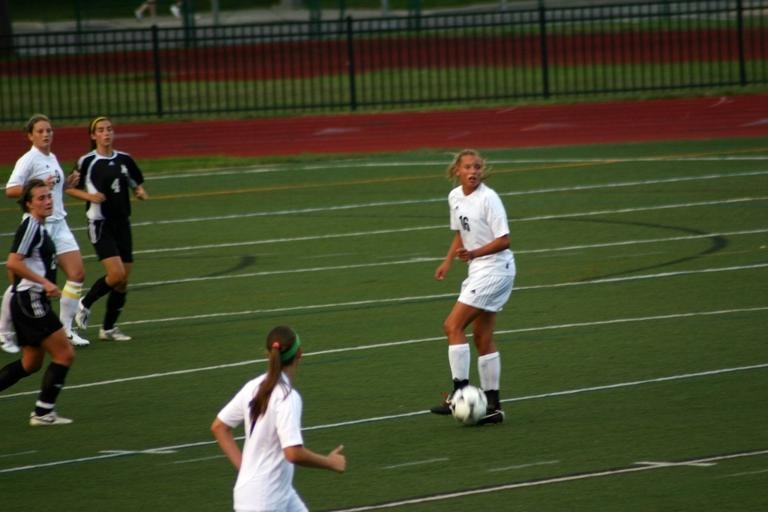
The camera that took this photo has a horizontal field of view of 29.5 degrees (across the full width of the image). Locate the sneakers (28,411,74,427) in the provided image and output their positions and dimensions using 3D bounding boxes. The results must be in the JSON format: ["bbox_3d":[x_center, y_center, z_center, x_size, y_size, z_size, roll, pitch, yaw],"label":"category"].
[{"bbox_3d":[-4.640,2.240,20.356,0.659,0.191,0.205,-1,1,-6],"label":"sneakers"}]

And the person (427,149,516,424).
[{"bbox_3d":[1.303,0.394,20.201,0.966,3.657,0.961,-1,9,4],"label":"person"}]

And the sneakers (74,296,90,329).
[{"bbox_3d":[-4.734,0.864,22.764,0.207,0.493,0.274,-2,-11,-38],"label":"sneakers"}]

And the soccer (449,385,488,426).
[{"bbox_3d":[1.164,2.020,19.965,0.423,0.389,0.416,-43,12,-34],"label":"soccer"}]

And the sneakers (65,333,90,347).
[{"bbox_3d":[-4.689,1.268,22.426,0.450,0.158,0.141,14,11,-4],"label":"sneakers"}]

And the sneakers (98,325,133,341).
[{"bbox_3d":[-4.163,1.195,22.525,0.622,0.197,0.182,2,-3,1],"label":"sneakers"}]

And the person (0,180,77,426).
[{"bbox_3d":[-4.863,0.651,20.201,0.965,3.323,0.722,-5,9,-19],"label":"person"}]

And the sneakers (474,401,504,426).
[{"bbox_3d":[1.465,2.147,20.036,0.389,0.148,0.213,-15,20,-23],"label":"sneakers"}]
